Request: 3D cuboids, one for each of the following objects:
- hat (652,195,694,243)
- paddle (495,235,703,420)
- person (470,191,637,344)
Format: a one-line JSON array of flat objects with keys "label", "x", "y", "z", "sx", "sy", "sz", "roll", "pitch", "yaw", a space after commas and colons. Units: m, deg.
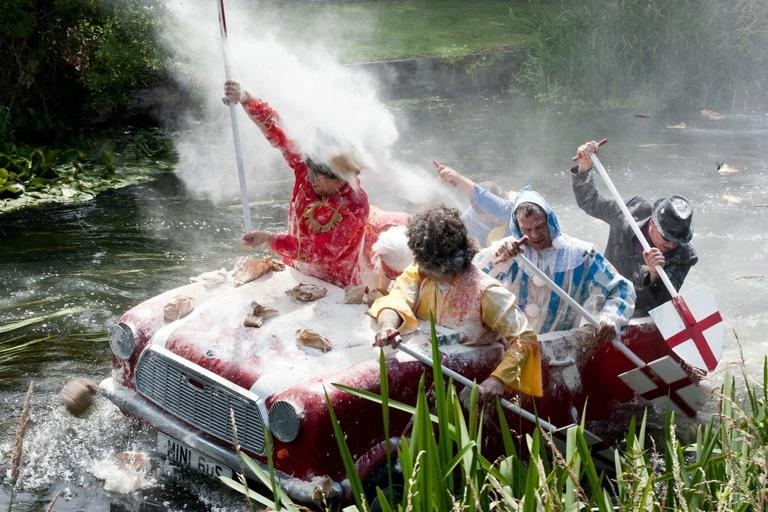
[{"label": "hat", "x": 3.121, "y": -0.452, "z": 8.660, "sx": 0.529, "sy": 0.261, "sz": 0.688, "roll": 12, "pitch": 37, "yaw": 5}, {"label": "paddle", "x": 2.049, "y": 0.743, "z": 7.811, "sx": 0.085, "sy": 2.118, "sz": 0.511, "roll": 12, "pitch": 65, "yaw": 56}, {"label": "person", "x": 1.568, "y": 0.143, "z": 8.088, "sx": 1.592, "sy": 2.166, "sz": 0.768, "roll": 4, "pitch": 35, "yaw": 22}]
